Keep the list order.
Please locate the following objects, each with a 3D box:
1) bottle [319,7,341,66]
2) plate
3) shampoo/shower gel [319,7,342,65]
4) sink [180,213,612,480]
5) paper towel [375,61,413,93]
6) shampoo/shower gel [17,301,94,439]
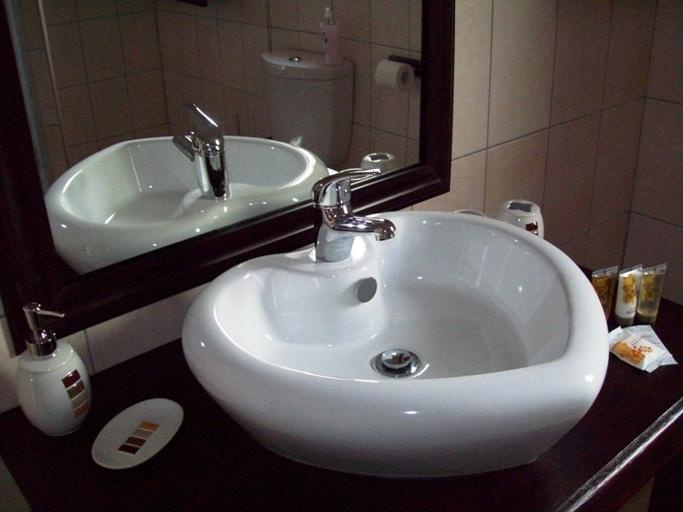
[{"bbox_3d":[-0.025,-0.459,1.042,0.043,0.113,0.050,-32,42,-32],"label":"bottle"},{"bbox_3d":[-0.331,0.290,0.830,0.107,0.015,0.148,26,38,35],"label":"plate"},{"bbox_3d":[-0.024,-0.461,1.042,0.041,0.112,0.049,-27,38,-28],"label":"shampoo/shower gel"},{"bbox_3d":[0.088,0.145,0.870,0.683,0.219,0.544,-9,32,-18],"label":"sink"},{"bbox_3d":[0.116,-0.407,1.129,0.068,0.066,0.060,10,50,25],"label":"paper towel"},{"bbox_3d":[-0.465,0.185,0.807,0.100,0.233,0.076,-17,32,-30],"label":"shampoo/shower gel"}]
